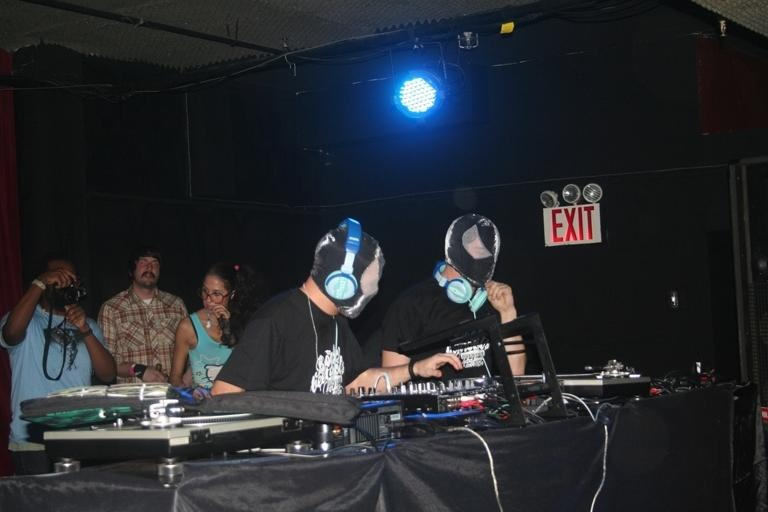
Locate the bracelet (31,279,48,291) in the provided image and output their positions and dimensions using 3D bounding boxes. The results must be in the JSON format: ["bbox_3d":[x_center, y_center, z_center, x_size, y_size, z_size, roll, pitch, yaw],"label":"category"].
[{"bbox_3d":[-2.382,0.191,4.692,0.079,0.030,0.086,31,-19,39],"label":"bracelet"}]

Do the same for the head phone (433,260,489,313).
[{"bbox_3d":[0.498,0.224,4.554,0.376,0.124,0.295,32,-5,38],"label":"head phone"}]

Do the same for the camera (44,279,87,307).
[{"bbox_3d":[-2.260,0.262,4.752,0.218,0.102,0.157,-10,-6,40],"label":"camera"}]

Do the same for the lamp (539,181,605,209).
[{"bbox_3d":[1.854,-0.585,6.619,0.582,0.217,0.125,-9,-12,21],"label":"lamp"}]

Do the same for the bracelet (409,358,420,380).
[{"bbox_3d":[0.174,0.673,4.032,0.036,0.100,0.085,-1,30,-2],"label":"bracelet"}]

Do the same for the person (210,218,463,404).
[{"bbox_3d":[-0.299,0.399,3.769,1.498,1.162,0.914,4,-4,-34],"label":"person"}]

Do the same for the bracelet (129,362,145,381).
[{"bbox_3d":[-1.998,0.946,5.516,0.171,0.135,0.109,-13,-14,37],"label":"bracelet"}]

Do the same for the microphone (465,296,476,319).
[{"bbox_3d":[0.597,0.348,4.471,0.043,0.134,0.094,6,-4,-2],"label":"microphone"}]

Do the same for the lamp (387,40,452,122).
[{"bbox_3d":[0.332,-1.534,5.685,0.461,0.827,0.801,-6,-11,7],"label":"lamp"}]
